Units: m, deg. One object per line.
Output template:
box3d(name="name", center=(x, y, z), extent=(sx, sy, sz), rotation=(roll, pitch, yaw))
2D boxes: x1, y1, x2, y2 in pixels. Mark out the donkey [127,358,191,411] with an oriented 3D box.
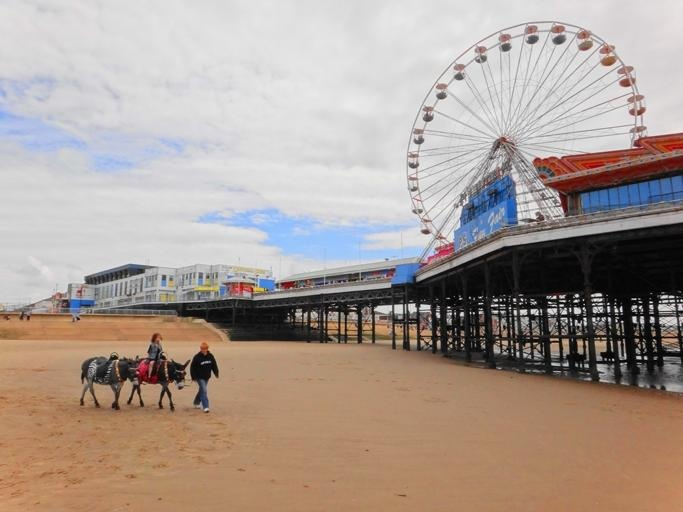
box3d(name="donkey", center=(-6.518, 4.594, 20.383), extent=(2.720, 1.693, 0.726), rotation=(0, -8, 30))
